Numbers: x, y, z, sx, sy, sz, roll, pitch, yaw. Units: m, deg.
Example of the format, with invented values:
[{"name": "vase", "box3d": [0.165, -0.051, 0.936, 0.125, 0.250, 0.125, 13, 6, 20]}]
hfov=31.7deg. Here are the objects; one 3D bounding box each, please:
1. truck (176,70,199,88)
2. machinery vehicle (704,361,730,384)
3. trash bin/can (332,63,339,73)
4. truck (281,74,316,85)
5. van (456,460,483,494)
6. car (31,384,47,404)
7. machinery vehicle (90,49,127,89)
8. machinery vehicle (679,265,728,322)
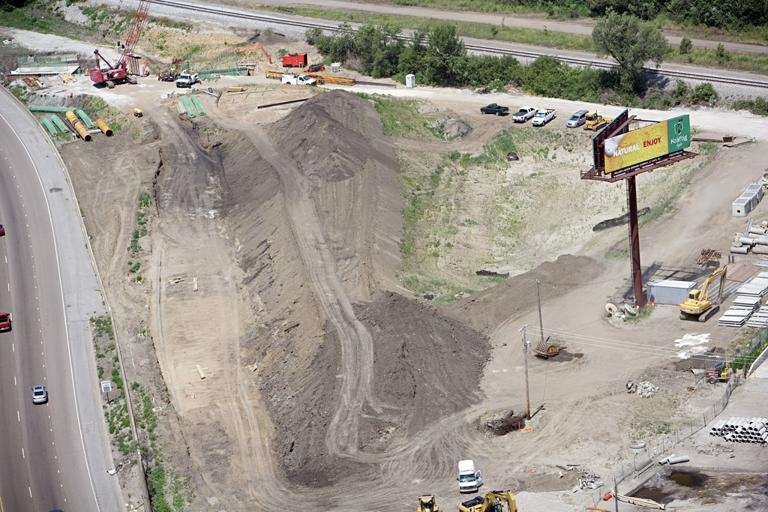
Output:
[{"name": "truck", "box3d": [-29.836, -26.908, 207.589, 3.343, 2.136, 4.286, 2, 37, -2]}, {"name": "machinery vehicle", "box3d": [36.205, 12.993, 146.558, 2.553, 1.167, 1.833, -3, 58, 11]}, {"name": "trash bin/can", "box3d": [-7.315, -29.293, 212.016, 1.293, 1.042, 1.487, 1, 37, -2]}, {"name": "truck", "box3d": [-12.912, -26.574, 206.301, 4.159, 1.465, 2.136, 3, 20, 16]}, {"name": "van", "box3d": [9.029, 22.969, 142.131, 2.014, 1.959, 3.626, -4, 4, 4]}, {"name": "car", "box3d": [-38.704, 15.759, 153.334, 1.686, 1.333, 2.005, -7, 38, -12]}, {"name": "machinery vehicle", "box3d": [-41.123, -29.591, 209.148, 5.689, 5.329, 5.327, -7, 45, -10]}, {"name": "machinery vehicle", "box3d": [36.843, 4.371, 153.878, 3.377, 4.186, 7.937, 18, 32, 41]}]
